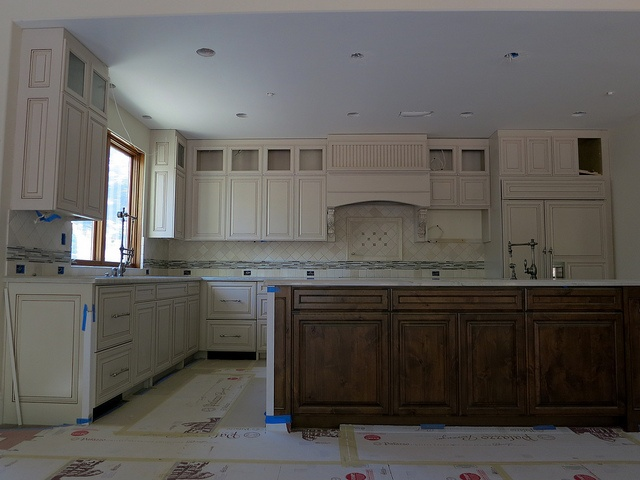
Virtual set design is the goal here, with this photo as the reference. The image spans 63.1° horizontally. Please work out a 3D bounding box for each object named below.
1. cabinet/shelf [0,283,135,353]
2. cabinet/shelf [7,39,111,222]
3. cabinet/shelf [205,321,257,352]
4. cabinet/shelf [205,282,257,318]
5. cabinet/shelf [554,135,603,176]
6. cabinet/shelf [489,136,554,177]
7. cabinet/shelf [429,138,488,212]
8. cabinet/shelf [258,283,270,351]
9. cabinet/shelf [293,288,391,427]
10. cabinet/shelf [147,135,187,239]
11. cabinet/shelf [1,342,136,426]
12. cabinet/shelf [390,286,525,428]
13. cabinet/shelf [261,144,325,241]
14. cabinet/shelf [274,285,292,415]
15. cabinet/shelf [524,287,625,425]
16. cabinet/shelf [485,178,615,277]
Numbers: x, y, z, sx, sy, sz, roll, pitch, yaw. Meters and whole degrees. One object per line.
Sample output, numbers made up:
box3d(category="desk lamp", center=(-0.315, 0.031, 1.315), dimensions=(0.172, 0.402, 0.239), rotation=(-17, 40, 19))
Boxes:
box3d(category="cabinet/shelf", center=(-2.150, 0.643, 4.542), dimensions=(0.662, 0.858, 0.928), rotation=(-2, -4, 8))
box3d(category="cabinet/shelf", center=(-2.349, -1.016, 4.699), dimensions=(0.496, 1.679, 0.769), rotation=(1, 7, 6))
box3d(category="cabinet/shelf", center=(-1.128, 1.195, 6.537), dimensions=(0.450, 0.275, 0.466), rotation=(0, -5, 1))
box3d(category="cabinet/shelf", center=(-1.081, 0.778, 6.757), dimensions=(0.695, 0.462, 0.385), rotation=(-2, -5, 17))
box3d(category="cabinet/shelf", center=(3.309, -1.096, 6.810), dimensions=(0.739, 0.620, 0.388), rotation=(-1, 4, 6))
box3d(category="cabinet/shelf", center=(2.759, -1.143, 6.772), dimensions=(0.396, 0.586, 0.727), rotation=(-21, 21, -38))
box3d(category="cabinet/shelf", center=(1.838, -0.867, 7.066), dimensions=(0.855, 0.916, 0.281), rotation=(0, -8, 8))
box3d(category="cabinet/shelf", center=(-0.740, 0.987, 6.541), dimensions=(0.108, 0.885, 0.248), rotation=(0, 6, -2))
box3d(category="cabinet/shelf", center=(0.172, 0.981, 4.489), dimensions=(1.032, 1.414, 0.997), rotation=(0, -9, 1))
box3d(category="cabinet/shelf", center=(-1.984, -0.712, 6.723), dimensions=(0.367, 1.408, 0.572), rotation=(0, 7, -1))
box3d(category="cabinet/shelf", center=(-2.204, 1.138, 4.579), dimensions=(0.647, 0.864, 0.911), rotation=(-3, -4, 0))
box3d(category="cabinet/shelf", center=(1.073, 0.928, 4.350), dimensions=(1.204, 1.080, 0.428), rotation=(3, -8, -11))
box3d(category="cabinet/shelf", center=(-0.360, -0.674, 6.943), dimensions=(0.843, 1.304, 0.371), rotation=(-1, 7, -7))
box3d(category="cabinet/shelf", center=(-0.304, 0.892, 4.194), dimensions=(0.137, 0.985, 0.189), rotation=(-1, 6, -5))
box3d(category="cabinet/shelf", center=(2.052, 0.895, 4.211), dimensions=(0.800, 0.992, 0.197), rotation=(0, 6, -1))
box3d(category="cabinet/shelf", center=(2.953, -0.169, 6.530), dimensions=(1.312, 1.457, 0.477), rotation=(0, -4, 1))
